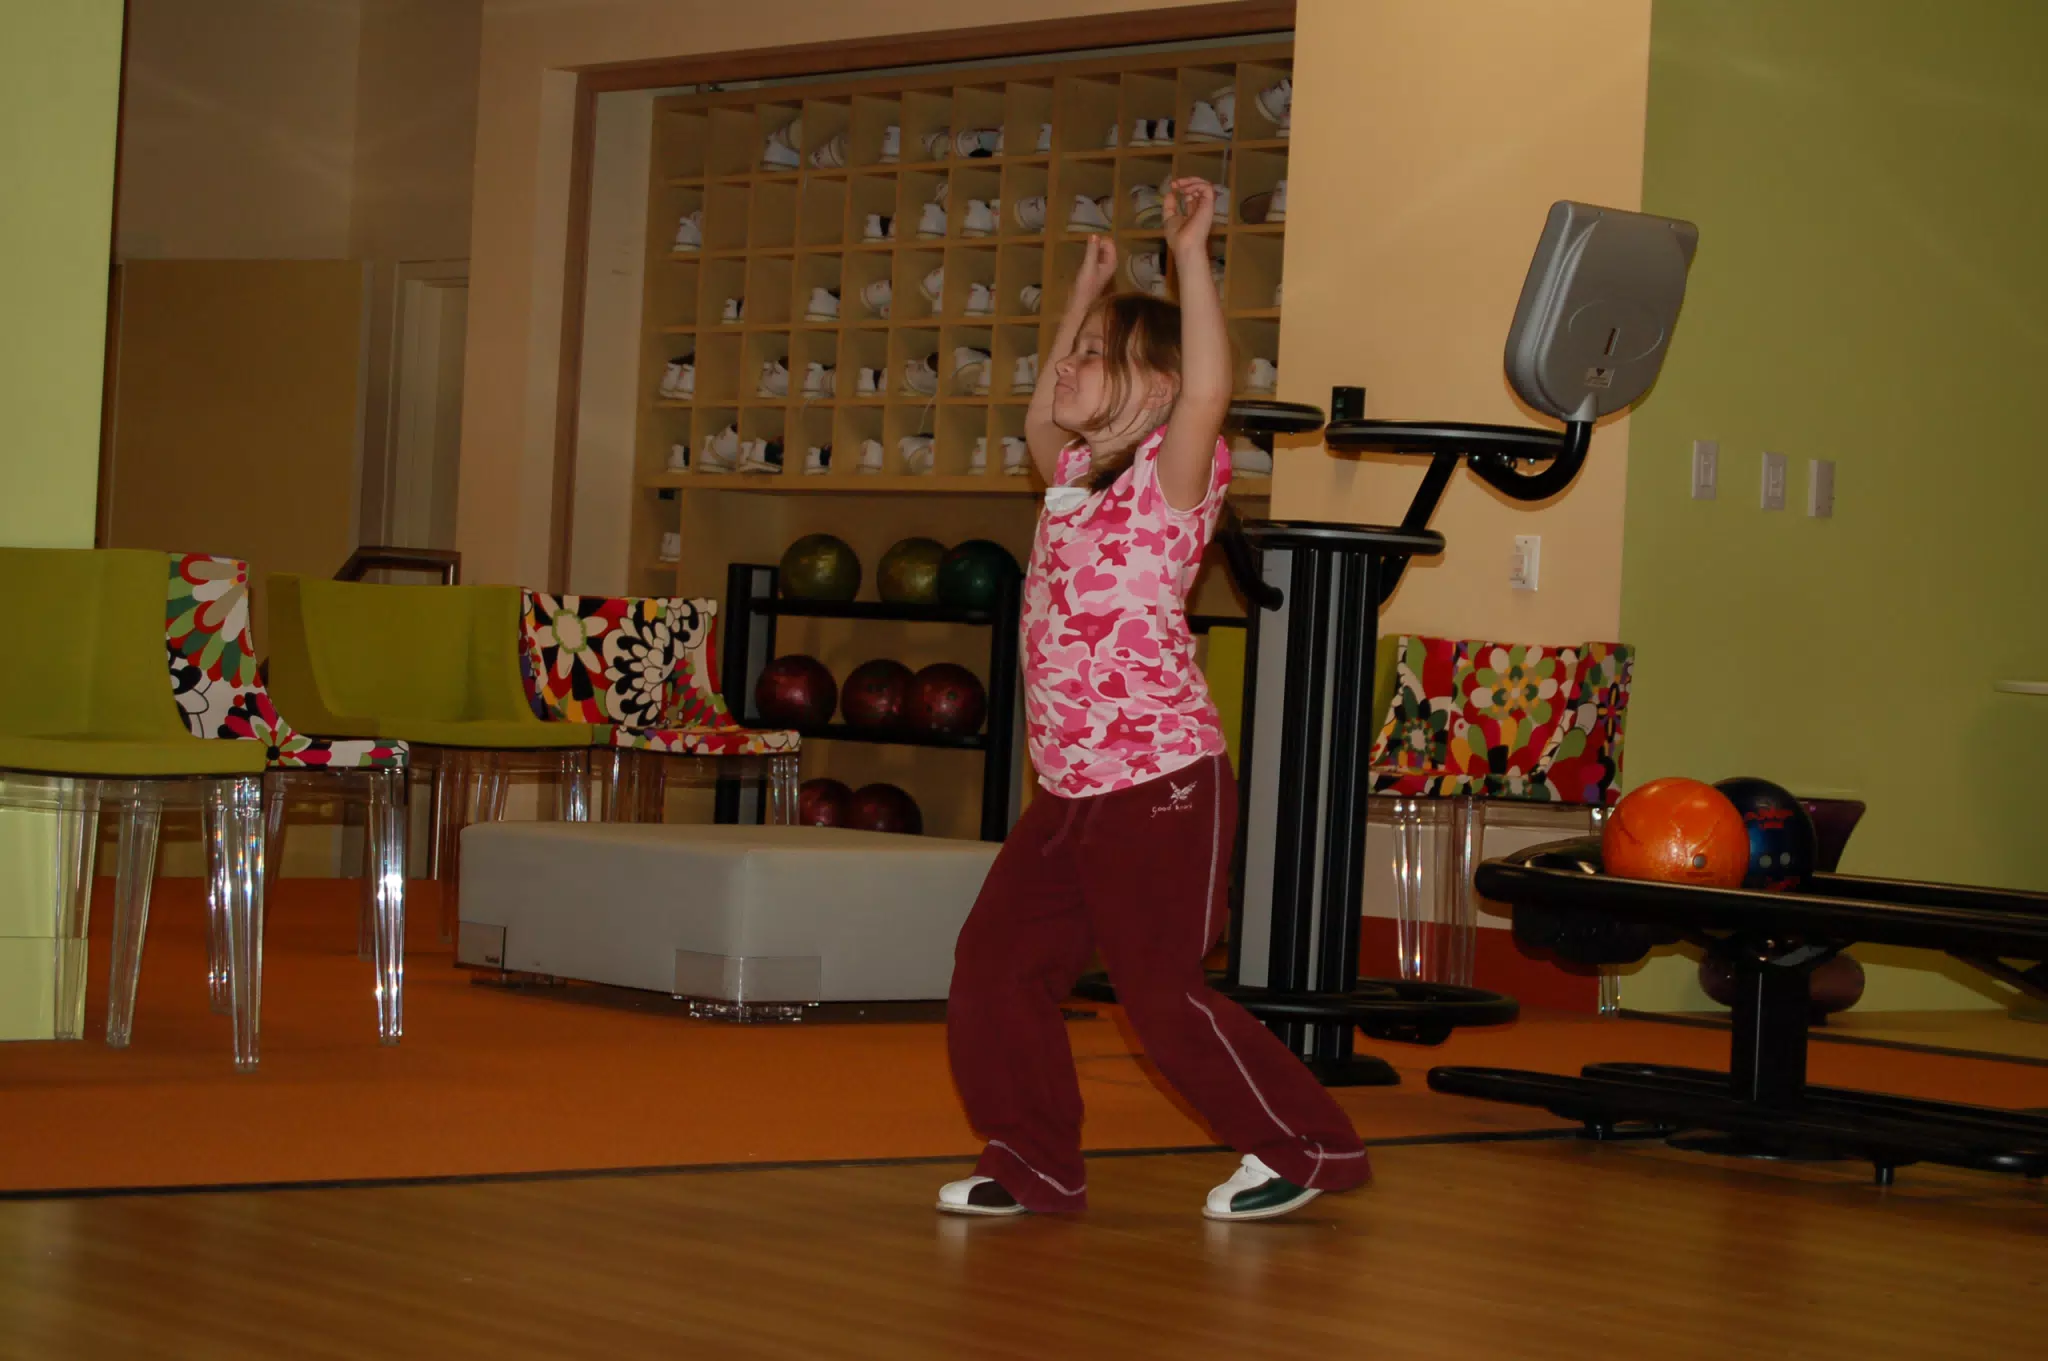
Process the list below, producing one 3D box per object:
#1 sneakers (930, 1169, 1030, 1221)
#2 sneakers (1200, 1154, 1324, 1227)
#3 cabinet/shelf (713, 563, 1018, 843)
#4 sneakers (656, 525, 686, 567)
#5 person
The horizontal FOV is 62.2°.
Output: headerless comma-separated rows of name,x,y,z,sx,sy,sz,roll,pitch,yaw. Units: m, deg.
sneakers,-0.076,0.827,2.757,0.108,0.044,0.068,6,-6,-38
sneakers,0.389,0.827,2.783,0.193,0.092,0.094,1,0,-8
cabinet/shelf,-0.722,0.094,7.894,1.221,1.351,0.425,1,0,28
sneakers,-1.812,-0.676,8.693,0.094,0.157,0.170,1,-3,-3
person,0.212,0.028,2.793,0.641,1.697,0.370,2,-2,12
